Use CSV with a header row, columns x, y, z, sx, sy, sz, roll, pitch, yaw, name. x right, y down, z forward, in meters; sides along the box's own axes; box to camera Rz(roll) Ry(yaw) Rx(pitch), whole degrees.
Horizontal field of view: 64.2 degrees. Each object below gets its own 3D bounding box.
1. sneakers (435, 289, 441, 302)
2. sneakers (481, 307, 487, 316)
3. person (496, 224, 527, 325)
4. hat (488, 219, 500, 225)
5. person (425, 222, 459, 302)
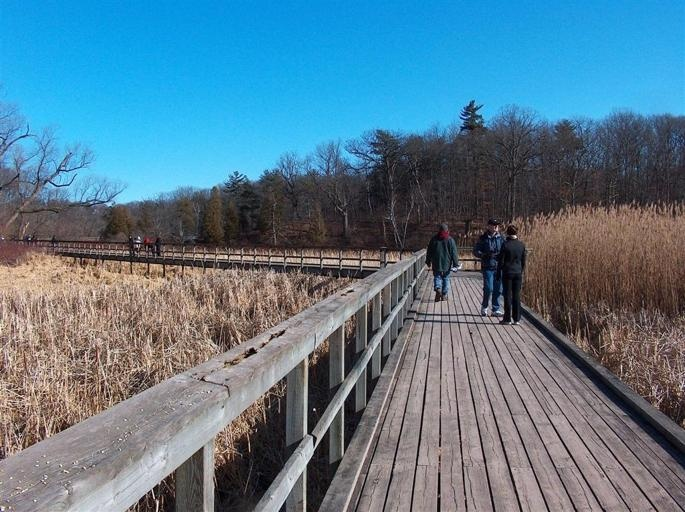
x,y,z,sx,sy,sz,roll,pitch,yaw,name
1.460,0.612,8.432,0.071,0.224,0.086,0,7,12,sneakers
1.974,0.771,7.687,0.103,0.114,0.263,-2,8,16,sneakers
2.118,0.272,6.860,0.306,1.302,0.508,-1,7,17,person
2.115,-0.478,7.692,0.128,0.058,0.100,-1,5,28,hat
1.596,0.126,8.806,0.475,1.345,1.255,-2,7,10,person
